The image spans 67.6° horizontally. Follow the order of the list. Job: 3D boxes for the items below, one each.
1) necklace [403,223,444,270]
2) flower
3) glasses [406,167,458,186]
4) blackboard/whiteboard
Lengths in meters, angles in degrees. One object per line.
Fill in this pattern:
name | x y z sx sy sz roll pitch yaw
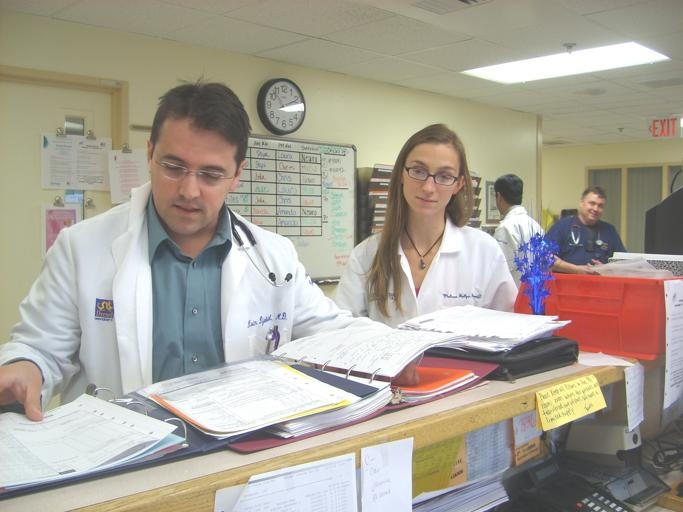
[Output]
necklace | 0.324 -0.034 1.996 0.166 0.206 0.018 3 -15 2
flower | 0.546 0.024 1.496 0.123 0.296 0.111 -6 3 24
glasses | 0.325 -0.296 1.885 0.183 0.062 0.069 4 14 7
blackboard/whiteboard | -0.330 -0.361 3.436 1.319 1.363 0.102 1 -2 -41
